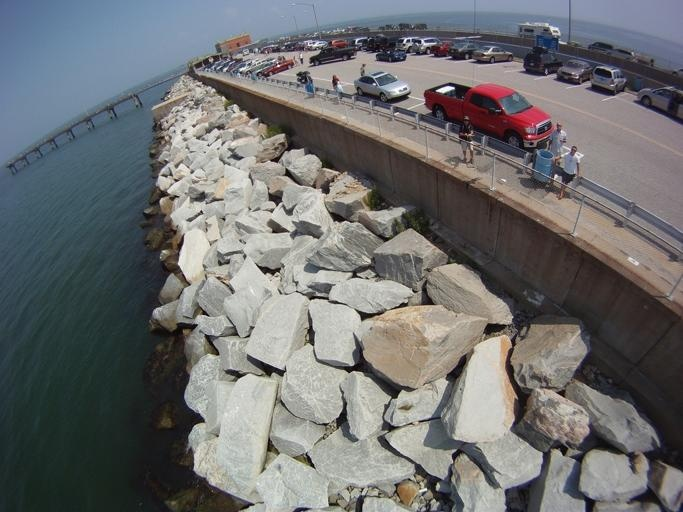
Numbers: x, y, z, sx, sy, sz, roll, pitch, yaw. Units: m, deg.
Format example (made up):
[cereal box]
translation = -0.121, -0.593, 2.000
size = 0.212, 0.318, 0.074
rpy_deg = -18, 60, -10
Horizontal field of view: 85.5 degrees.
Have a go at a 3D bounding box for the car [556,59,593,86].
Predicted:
[car]
translation = 14.876, -11.685, 23.739
size = 1.922, 0.842, 1.879
rpy_deg = 13, 60, 25

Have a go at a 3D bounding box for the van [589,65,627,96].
[van]
translation = 16.178, -10.613, 22.145
size = 2.419, 1.213, 1.366
rpy_deg = -40, 50, -20

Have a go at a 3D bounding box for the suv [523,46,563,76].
[suv]
translation = 14.471, -13.640, 26.304
size = 2.844, 1.496, 1.901
rpy_deg = -42, 55, -17
